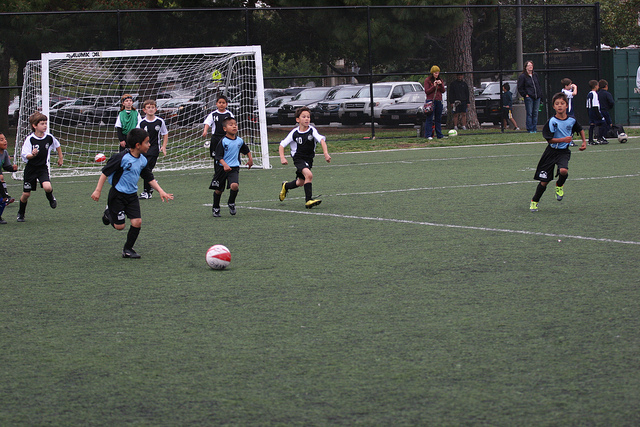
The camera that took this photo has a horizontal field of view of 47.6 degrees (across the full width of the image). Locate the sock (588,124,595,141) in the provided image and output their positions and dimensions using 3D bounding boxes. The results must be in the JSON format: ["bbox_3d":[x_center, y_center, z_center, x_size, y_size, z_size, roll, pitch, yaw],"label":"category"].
[{"bbox_3d":[6.967,-2.083,18.616,0.118,0.437,0.438,4,15,21],"label":"sock"}]

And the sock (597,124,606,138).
[{"bbox_3d":[7.277,-2.128,18.673,0.219,0.344,0.146,-9,17,-28],"label":"sock"}]

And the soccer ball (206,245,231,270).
[{"bbox_3d":[-1.032,0.445,7.325,0.231,0.222,0.205,-4,15,-11],"label":"soccer ball"}]

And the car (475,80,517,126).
[{"bbox_3d":[6.219,-4.222,27.601,1.392,1.400,2.840,3,7,35],"label":"car"}]

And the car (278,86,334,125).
[{"bbox_3d":[-0.618,-4.629,31.127,1.746,1.496,3.346,2,9,21],"label":"car"}]

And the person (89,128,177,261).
[{"bbox_3d":[-2.085,-0.226,7.886,0.734,1.357,0.687,-6,15,-17],"label":"person"}]

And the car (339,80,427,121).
[{"bbox_3d":[2.476,-4.534,28.350,1.943,1.335,3.553,4,9,43],"label":"car"}]

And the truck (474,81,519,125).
[{"bbox_3d":[6.889,-4.407,28.714,1.600,1.546,3.269,6,12,28],"label":"truck"}]

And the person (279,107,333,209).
[{"bbox_3d":[-0.251,-0.816,10.728,0.771,1.523,1.578,-2,14,-2],"label":"person"}]

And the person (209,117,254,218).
[{"bbox_3d":[-1.275,-0.684,10.325,0.627,1.400,1.201,-4,15,-8],"label":"person"}]

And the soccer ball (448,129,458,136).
[{"bbox_3d":[3.889,-2.353,21.274,0.257,0.192,0.471,1,14,9],"label":"soccer ball"}]

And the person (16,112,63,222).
[{"bbox_3d":[-3.962,-0.675,10.194,0.670,1.406,0.947,-3,15,-6],"label":"person"}]

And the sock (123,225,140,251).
[{"bbox_3d":[-2.048,0.248,7.874,0.186,0.281,0.240,-5,15,-14],"label":"sock"}]

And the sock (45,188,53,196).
[{"bbox_3d":[-3.789,-0.299,10.107,0.118,0.104,0.111,2,-2,-17],"label":"sock"}]

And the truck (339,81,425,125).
[{"bbox_3d":[1.734,-4.312,27.628,1.959,1.363,3.637,4,9,43],"label":"truck"}]

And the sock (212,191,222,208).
[{"bbox_3d":[-1.433,-0.195,10.042,0.082,0.216,0.107,-1,15,4],"label":"sock"}]

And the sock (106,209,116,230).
[{"bbox_3d":[-2.323,0.058,8.002,0.064,0.168,0.130,-36,-2,-42],"label":"sock"}]

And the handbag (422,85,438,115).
[{"bbox_3d":[3.073,-3.166,20.283,0.344,0.854,0.503,-2,15,0],"label":"handbag"}]

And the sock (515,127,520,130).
[{"bbox_3d":[6.155,-2.640,22.619,0.087,0.105,0.249,0,-1,18],"label":"sock"}]

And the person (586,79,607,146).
[{"bbox_3d":[7.045,-2.569,18.440,0.500,1.618,1.088,4,15,20],"label":"person"}]

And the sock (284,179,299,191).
[{"bbox_3d":[-0.435,-0.435,10.853,0.181,0.156,0.273,-2,14,-2],"label":"sock"}]
